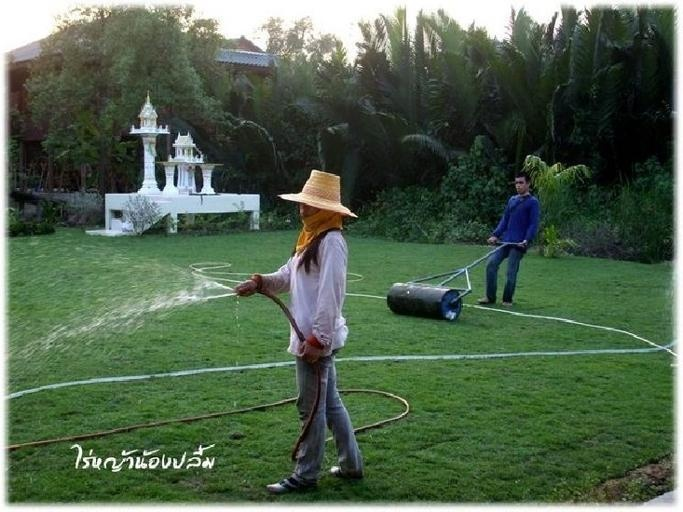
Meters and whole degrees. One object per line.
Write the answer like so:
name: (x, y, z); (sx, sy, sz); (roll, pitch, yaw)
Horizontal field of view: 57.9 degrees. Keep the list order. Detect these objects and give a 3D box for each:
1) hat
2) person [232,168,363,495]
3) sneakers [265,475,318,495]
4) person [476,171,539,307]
hat: (-0.173, -0.493, 4.874); (0.484, 0.251, 0.489); (15, 6, 32)
person: (-0.214, 0.543, 4.905); (0.811, 2.419, 0.727); (-1, 9, -9)
sneakers: (-0.370, 1.757, 4.725); (0.374, 0.152, 0.136); (6, -9, -5)
person: (2.885, -0.297, 10.486); (0.873, 2.251, 0.698); (3, 9, 15)
